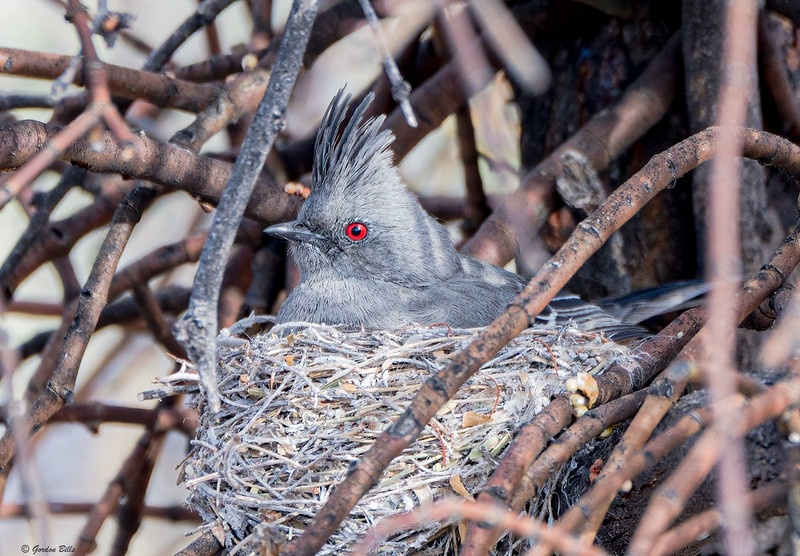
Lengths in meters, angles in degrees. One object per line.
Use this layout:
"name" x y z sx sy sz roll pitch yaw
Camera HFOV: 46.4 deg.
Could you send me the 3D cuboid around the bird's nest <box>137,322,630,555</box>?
"bird's nest" -0.134 0.542 3.292 1.477 0.892 0.840 4 29 -17
